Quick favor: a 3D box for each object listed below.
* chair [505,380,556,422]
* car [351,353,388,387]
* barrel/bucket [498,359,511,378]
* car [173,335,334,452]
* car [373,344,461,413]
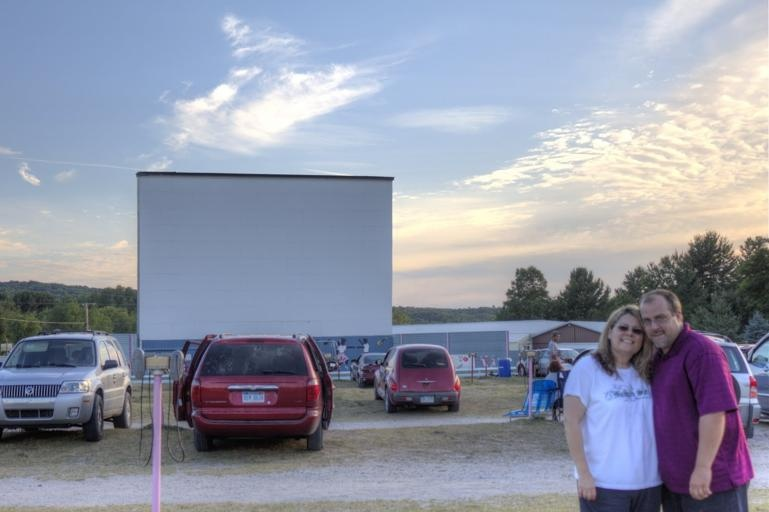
[{"bbox_3d":[4.107,3.776,20.848,0.683,0.675,1.655,-1,-3,25],"label":"chair"},{"bbox_3d":[-0.712,4.990,34.430,1.065,0.884,2.550,1,-1,-6],"label":"car"},{"bbox_3d":[6.207,5.774,40.323,0.380,0.871,1.189,0,-6,-18],"label":"barrel/bucket"},{"bbox_3d":[-2.468,2.779,16.119,2.097,1.383,2.818,0,-2,-1],"label":"car"},{"bbox_3d":[0.909,3.481,23.141,1.437,1.230,2.806,0,-2,-4],"label":"car"}]
